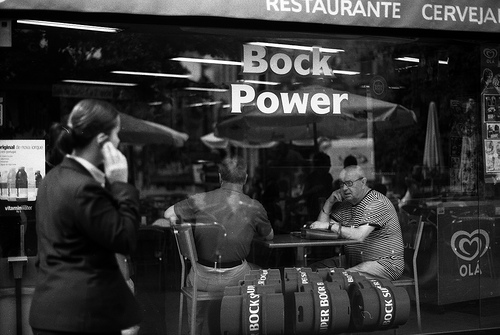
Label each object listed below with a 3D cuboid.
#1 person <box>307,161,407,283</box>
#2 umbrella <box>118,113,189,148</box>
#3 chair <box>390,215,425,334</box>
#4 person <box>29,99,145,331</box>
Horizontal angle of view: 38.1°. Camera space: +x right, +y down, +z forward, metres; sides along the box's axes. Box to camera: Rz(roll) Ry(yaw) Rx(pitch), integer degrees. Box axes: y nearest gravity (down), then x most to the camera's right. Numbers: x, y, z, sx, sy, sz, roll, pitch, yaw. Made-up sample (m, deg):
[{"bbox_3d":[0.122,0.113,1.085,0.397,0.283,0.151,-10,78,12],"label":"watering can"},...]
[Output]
[{"bbox_3d":[1.323,0.856,9.104,1.118,1.807,1.052,1,1,-32],"label":"person"},{"bbox_3d":[-1.306,-0.502,9.683,0.307,0.287,1.288,-1,0,21],"label":"umbrella"},{"bbox_3d":[1.947,1.334,8.965,0.365,1.273,0.804,-1,0,13],"label":"chair"},{"bbox_3d":[-1.409,0.417,6.231,0.938,2.024,0.437,-1,0,-16],"label":"person"}]
